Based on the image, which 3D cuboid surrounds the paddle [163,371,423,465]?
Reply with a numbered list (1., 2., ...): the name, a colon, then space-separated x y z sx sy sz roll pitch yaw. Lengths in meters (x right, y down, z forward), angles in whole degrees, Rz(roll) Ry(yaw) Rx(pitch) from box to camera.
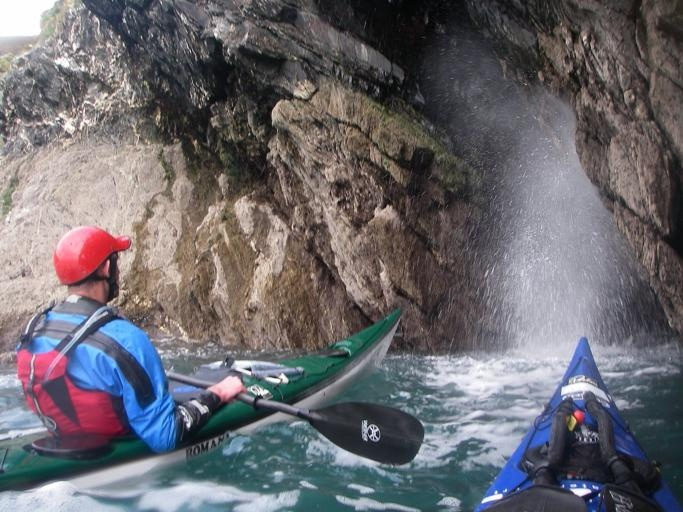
1. paddle: -0.702 2.023 7.534 2.683 0.517 0.147 24 -5 7
